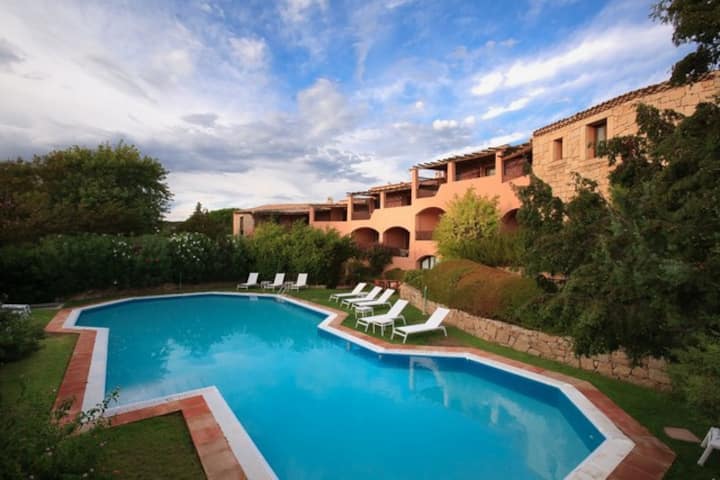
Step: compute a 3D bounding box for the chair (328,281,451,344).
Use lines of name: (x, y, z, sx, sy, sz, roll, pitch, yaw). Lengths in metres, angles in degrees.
chair: (1.801, 3.265, 15.966, 2.442, 1.180, 3.426, 1, 1, -42)
